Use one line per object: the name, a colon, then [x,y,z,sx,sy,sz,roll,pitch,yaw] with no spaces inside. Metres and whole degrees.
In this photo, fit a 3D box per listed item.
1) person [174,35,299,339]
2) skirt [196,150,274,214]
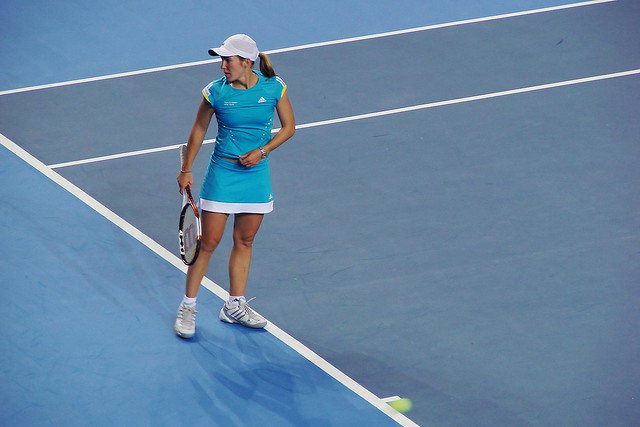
person: [-0.805,-0.192,6.102,1.127,2.826,0.287,-1,14,-6]
skirt: [-0.788,-0.333,6.200,0.742,0.642,0.410,-1,6,-20]
